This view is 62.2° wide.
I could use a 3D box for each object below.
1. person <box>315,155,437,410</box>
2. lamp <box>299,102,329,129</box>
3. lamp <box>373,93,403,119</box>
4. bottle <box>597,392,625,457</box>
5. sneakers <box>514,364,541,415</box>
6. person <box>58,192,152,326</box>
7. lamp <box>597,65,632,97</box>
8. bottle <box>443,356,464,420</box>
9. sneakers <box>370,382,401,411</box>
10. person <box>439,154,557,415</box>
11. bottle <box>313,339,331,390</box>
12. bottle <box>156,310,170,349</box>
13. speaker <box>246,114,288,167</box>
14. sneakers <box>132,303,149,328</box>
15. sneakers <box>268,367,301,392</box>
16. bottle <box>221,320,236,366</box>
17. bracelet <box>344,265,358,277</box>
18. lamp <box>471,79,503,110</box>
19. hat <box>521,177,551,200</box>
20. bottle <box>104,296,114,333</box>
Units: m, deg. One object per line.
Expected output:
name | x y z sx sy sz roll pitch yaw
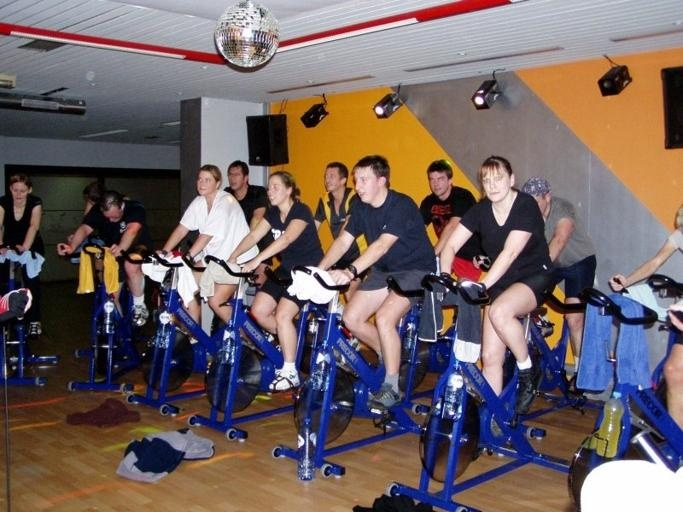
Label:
person | 0.199 0.165 4.133 0.979 1.788 0.545 0 4 -41
lamp | -0.351 -1.895 7.583 0.351 0.311 0.386 3 3 6
lamp | 0.552 -1.813 6.853 0.386 0.229 0.210 -34 32 -14
bottle | 1.416 0.908 2.996 0.123 0.302 0.066 2 3 -11
sneakers | 1.308 1.008 4.069 0.178 0.446 0.146 -1 15 -8
person | -2.418 0.006 5.964 0.854 1.403 1.325 -1 4 -45
lamp | 2.559 -1.626 5.403 0.258 0.259 0.379 -6 29 45
bottle | 0.648 0.788 3.315 0.115 0.323 0.068 3 3 11
sneakers | 0.311 0.996 4.023 0.130 0.127 0.233 -3 -2 33
person | 1.031 0.237 3.756 0.860 1.753 0.487 0 4 -37
bottle | -0.141 0.723 3.738 0.109 0.318 0.091 3 3 15
bottle | -1.523 0.630 4.847 0.124 0.326 0.066 2 3 -5
speaker | -1.046 -1.627 7.923 0.505 0.682 0.388 10 18 43
sneakers | -2.135 0.621 6.011 0.156 0.250 0.285 1 3 -21
sneakers | -0.448 0.997 4.606 0.261 0.160 0.125 6 -12 -40
bottle | -0.888 0.675 4.468 0.086 0.329 0.138 0 4 -41
bracelet | 0.067 0.098 3.780 0.075 0.088 0.164 2 3 2
lamp | 1.546 -1.769 6.103 0.257 0.328 0.242 5 4 45
hat | 1.647 -0.600 4.831 0.265 0.190 0.395 4 24 14
bottle | -2.231 0.575 5.431 0.103 0.329 0.089 2 3 -7
